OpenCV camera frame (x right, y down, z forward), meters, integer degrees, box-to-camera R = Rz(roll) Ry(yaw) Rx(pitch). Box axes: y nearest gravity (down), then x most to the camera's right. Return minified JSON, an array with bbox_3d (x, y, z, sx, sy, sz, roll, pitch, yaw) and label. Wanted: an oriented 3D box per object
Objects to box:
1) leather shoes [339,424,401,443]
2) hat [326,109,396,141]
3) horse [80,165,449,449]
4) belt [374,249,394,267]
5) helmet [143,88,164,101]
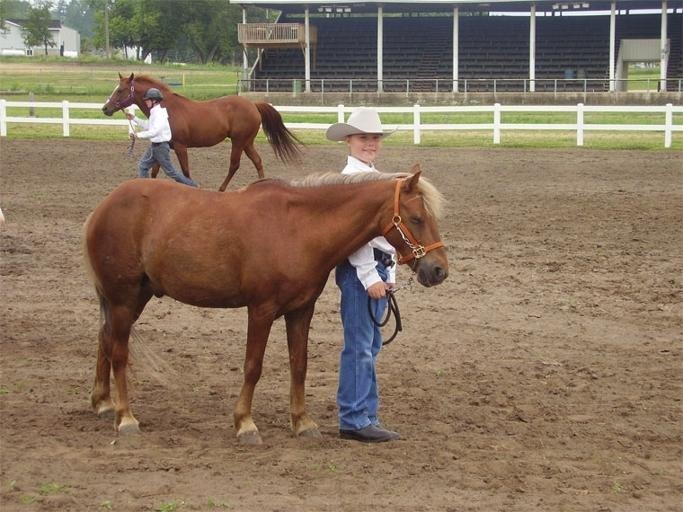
[{"bbox_3d":[0.326,2.171,13.709,0.700,0.252,0.257,-2,0,5],"label":"leather shoes"},{"bbox_3d":[0.149,-1.624,13.748,0.700,0.409,0.354,2,9,8],"label":"hat"},{"bbox_3d":[-1.098,0.587,13.991,4.994,3.507,1.420,4,9,20],"label":"horse"},{"bbox_3d":[0.525,0.033,13.753,0.236,0.094,0.180,43,26,17],"label":"belt"},{"bbox_3d":[-3.492,-2.988,20.508,0.329,0.170,0.229,12,24,5],"label":"helmet"}]
